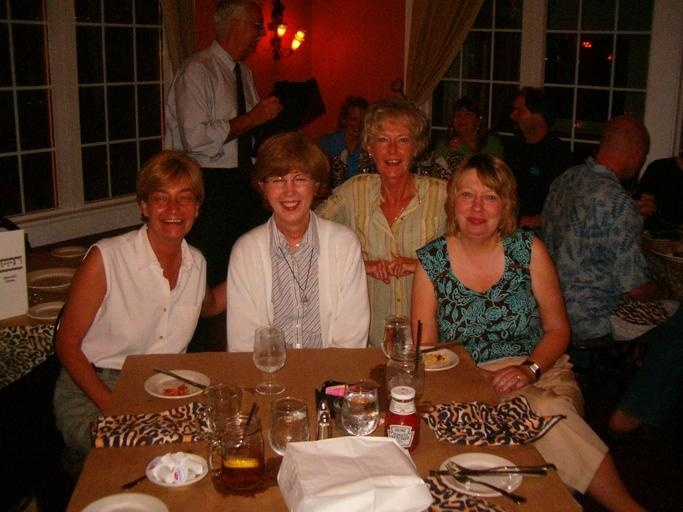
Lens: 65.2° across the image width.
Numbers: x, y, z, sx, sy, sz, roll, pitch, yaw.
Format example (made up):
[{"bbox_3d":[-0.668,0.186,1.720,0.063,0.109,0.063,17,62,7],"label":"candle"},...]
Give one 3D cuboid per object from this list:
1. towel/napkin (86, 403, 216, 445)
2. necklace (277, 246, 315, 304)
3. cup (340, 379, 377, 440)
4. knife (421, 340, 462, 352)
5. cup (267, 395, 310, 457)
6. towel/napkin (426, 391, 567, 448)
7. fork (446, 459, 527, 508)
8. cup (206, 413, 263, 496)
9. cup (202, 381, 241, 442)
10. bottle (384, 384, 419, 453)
[{"bbox_3d":[-0.586,0.523,1.631,0.218,0.039,0.142,1,16,-11],"label":"towel/napkin"},{"bbox_3d":[-0.209,0.081,2.452,0.155,0.247,0.099,-3,13,-5],"label":"necklace"},{"bbox_3d":[0.052,0.476,1.626,0.118,0.151,0.216,-1,13,6],"label":"cup"},{"bbox_3d":[0.418,0.376,2.228,0.143,0.012,0.025,-5,47,-26],"label":"knife"},{"bbox_3d":[-0.147,0.479,1.570,0.143,0.204,0.150,1,6,0],"label":"cup"},{"bbox_3d":[0.462,0.526,1.692,0.268,0.048,0.196,-1,7,1],"label":"towel/napkin"},{"bbox_3d":[0.393,0.622,1.452,0.035,0.027,0.195,-26,24,-36],"label":"fork"},{"bbox_3d":[-0.280,0.525,1.508,0.196,0.214,0.139,-5,11,-22],"label":"cup"},{"bbox_3d":[-0.354,0.485,1.667,0.095,0.143,0.138,1,-1,-3],"label":"cup"},{"bbox_3d":[0.178,0.480,1.582,0.098,0.191,0.092,-2,12,0],"label":"bottle"}]
